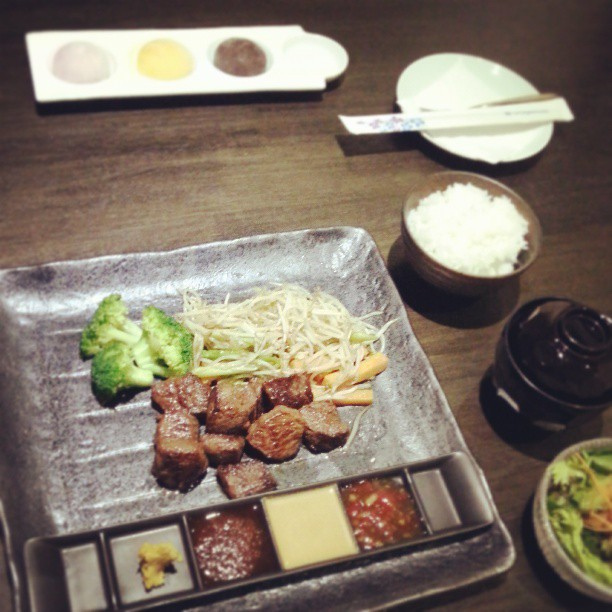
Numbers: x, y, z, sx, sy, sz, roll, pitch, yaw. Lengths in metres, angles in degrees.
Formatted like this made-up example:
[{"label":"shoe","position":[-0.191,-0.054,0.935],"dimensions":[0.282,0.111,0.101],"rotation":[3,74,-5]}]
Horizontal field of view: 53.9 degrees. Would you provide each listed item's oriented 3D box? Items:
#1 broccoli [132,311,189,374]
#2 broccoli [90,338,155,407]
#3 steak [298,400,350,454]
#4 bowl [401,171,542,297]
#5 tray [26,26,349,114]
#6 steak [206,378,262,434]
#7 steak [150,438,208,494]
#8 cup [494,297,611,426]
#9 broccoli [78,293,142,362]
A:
[{"label":"broccoli","position":[-0.642,0.182,2.790],"dimensions":[0.162,0.276,0.274],"rotation":[-36,90,-21]},{"label":"broccoli","position":[-0.745,0.276,2.674],"dimensions":[0.230,0.221,0.214],"rotation":[-11,14,3]},{"label":"steak","position":[0.077,0.541,2.650],"dimensions":[0.172,0.061,0.227],"rotation":[-11,39,-20]},{"label":"bowl","position":[0.828,-0.364,3.125],"dimensions":[0.708,0.307,0.679],"rotation":[2,60,-3]},{"label":"tray","position":[-0.658,-1.417,3.543],"dimensions":[1.779,0.218,0.553],"rotation":[-9,58,-14]},{"label":"steak","position":[-0.315,0.427,2.605],"dimensions":[0.236,0.080,0.223],"rotation":[-5,45,-17]},{"label":"steak","position":[-0.520,0.658,2.462],"dimensions":[0.202,0.130,0.207],"rotation":[-12,33,-23]},{"label":"cup","position":[1.017,0.289,2.725],"dimensions":[0.503,0.426,0.551],"rotation":[-1,49,1]},{"label":"broccoli","position":[-0.838,0.089,2.751],"dimensions":[0.248,0.232,0.088],"rotation":[3,13,22]}]
